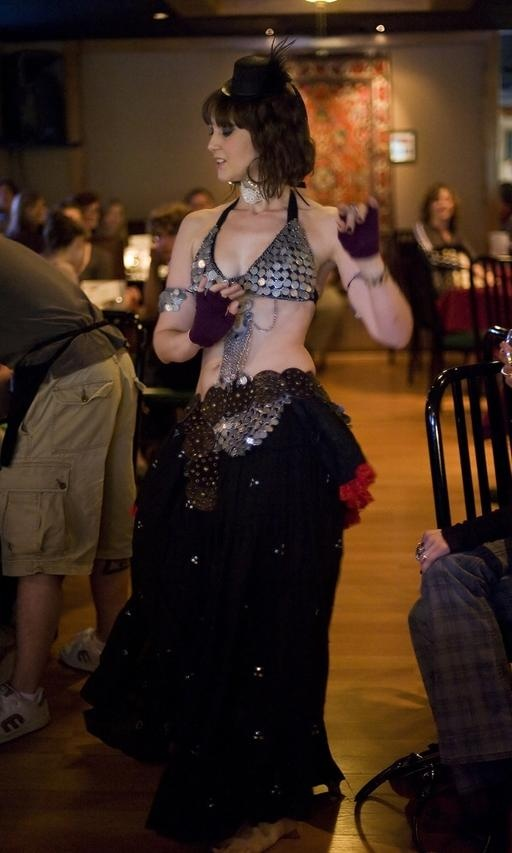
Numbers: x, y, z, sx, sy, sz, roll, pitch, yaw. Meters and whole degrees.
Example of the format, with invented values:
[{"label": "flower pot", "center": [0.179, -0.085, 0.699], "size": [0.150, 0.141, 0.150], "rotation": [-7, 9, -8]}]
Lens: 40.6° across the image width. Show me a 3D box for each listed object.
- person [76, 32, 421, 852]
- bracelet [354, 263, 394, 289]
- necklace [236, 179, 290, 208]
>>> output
[{"label": "person", "center": [-0.051, 0.059, 1.140], "size": [0.403, 1.277, 0.403], "rotation": [-6, 11, -19]}, {"label": "bracelet", "center": [0.173, -0.227, 1.033], "size": [0.034, 0.036, 0.010], "rotation": [-3, 25, 6]}, {"label": "necklace", "center": [-0.004, -0.375, 1.118], "size": [0.037, 0.022, 0.047], "rotation": [26, -10, 18]}]
